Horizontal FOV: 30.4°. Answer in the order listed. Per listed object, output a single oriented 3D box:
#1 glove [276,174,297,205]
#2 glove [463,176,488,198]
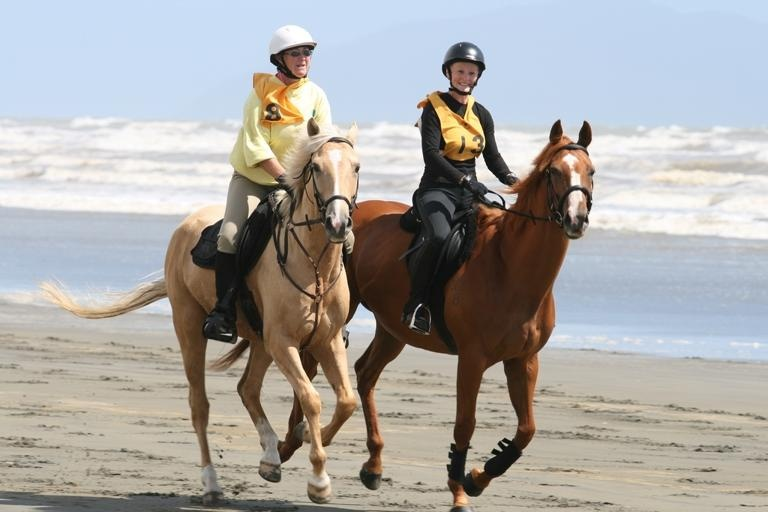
[{"bbox_3d":[-1.730,-1.224,25.245,0.173,0.520,0.268,-34,8,0],"label":"glove"},{"bbox_3d":[1.689,-1.309,25.930,0.462,0.163,0.319,24,30,-8],"label":"glove"}]
